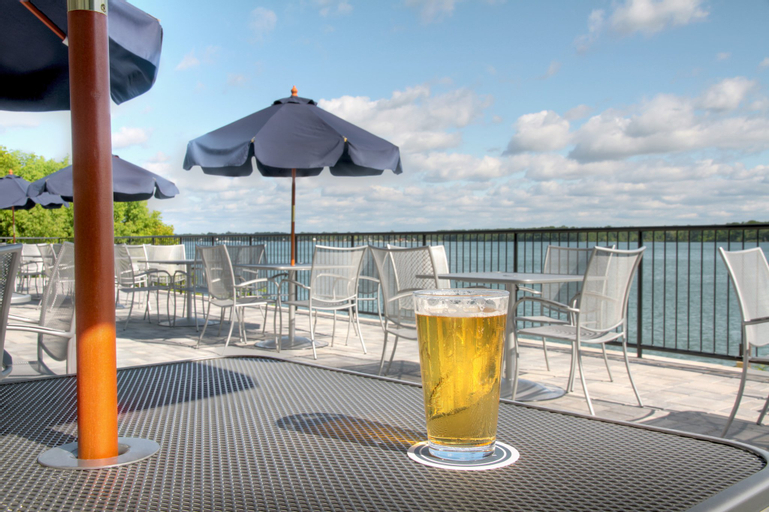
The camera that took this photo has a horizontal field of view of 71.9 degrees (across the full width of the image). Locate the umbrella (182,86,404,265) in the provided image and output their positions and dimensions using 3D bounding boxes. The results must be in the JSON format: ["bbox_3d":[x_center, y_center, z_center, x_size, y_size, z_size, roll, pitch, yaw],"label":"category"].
[{"bbox_3d":[-1.094,-0.884,6.640,2.539,1.990,2.533,2,7,24],"label":"umbrella"}]
